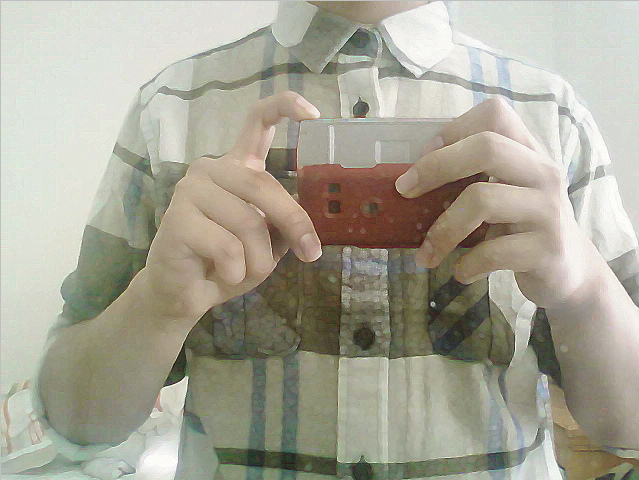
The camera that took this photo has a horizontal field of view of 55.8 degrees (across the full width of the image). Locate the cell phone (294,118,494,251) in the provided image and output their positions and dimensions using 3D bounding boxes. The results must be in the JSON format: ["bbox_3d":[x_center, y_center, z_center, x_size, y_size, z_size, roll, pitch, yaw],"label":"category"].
[{"bbox_3d":[0.059,-0.045,0.464,0.159,0.066,0.085,-7,59,-4],"label":"cell phone"}]

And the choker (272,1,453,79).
[{"bbox_3d":[0.039,-0.187,0.552,0.139,0.049,0.076,0,34,-4],"label":"choker"}]
